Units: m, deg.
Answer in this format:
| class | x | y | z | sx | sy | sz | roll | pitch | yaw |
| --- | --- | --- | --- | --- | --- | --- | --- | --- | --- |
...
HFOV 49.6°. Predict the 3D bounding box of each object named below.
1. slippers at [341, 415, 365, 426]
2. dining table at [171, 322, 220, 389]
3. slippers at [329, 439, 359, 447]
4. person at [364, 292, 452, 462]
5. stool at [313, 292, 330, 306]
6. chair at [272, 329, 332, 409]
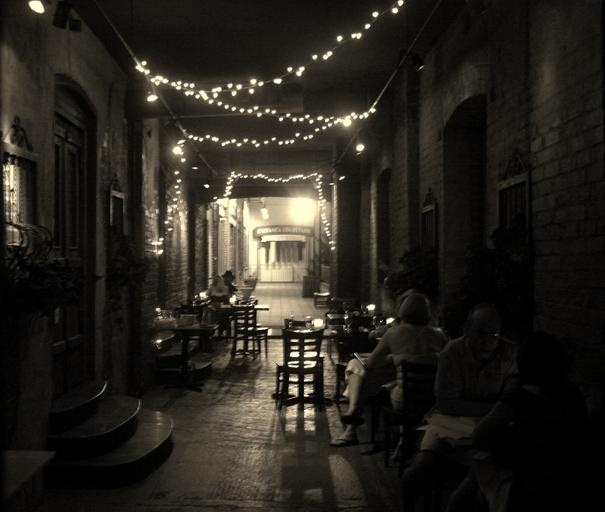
| class | x | y | z | sx | sy | sz | roll | pitch | yaw |
| --- | --- | --- | --- | --- | --- | --- | --- | --- | --- |
| slippers | 0.489 | 1.593 | 6.363 | 0.266 | 0.100 | 0.199 | 3 | -13 | -5 |
| dining table | -1.679 | 1.452 | 9.846 | 0.780 | 0.855 | 0.825 | 0 | 3 | 5 |
| slippers | 0.448 | 1.938 | 6.804 | 0.252 | 0.075 | 0.117 | 3 | -6 | -4 |
| person | 1.065 | 1.128 | 6.602 | 0.810 | 1.552 | 0.879 | -4 | 9 | -20 |
| stool | 0.610 | 1.331 | 20.110 | 0.420 | 0.721 | 0.410 | 1 | -1 | -1 |
| chair | -0.021 | 1.412 | 8.594 | 0.812 | 1.203 | 0.870 | 0 | 4 | -5 |
